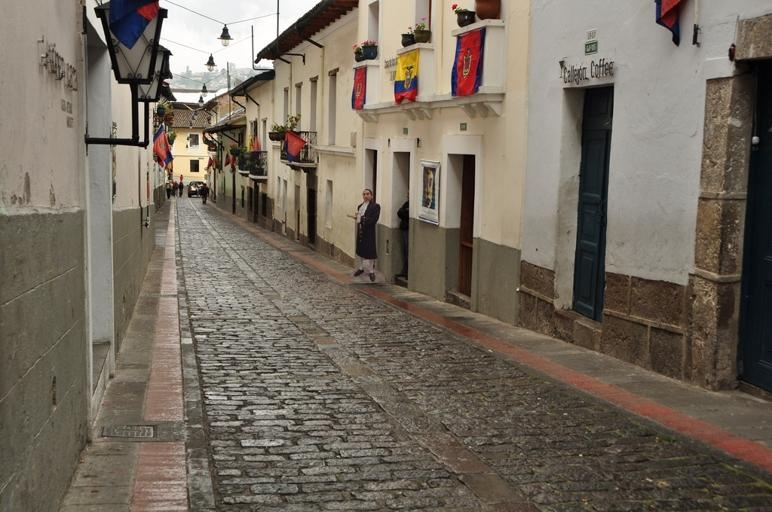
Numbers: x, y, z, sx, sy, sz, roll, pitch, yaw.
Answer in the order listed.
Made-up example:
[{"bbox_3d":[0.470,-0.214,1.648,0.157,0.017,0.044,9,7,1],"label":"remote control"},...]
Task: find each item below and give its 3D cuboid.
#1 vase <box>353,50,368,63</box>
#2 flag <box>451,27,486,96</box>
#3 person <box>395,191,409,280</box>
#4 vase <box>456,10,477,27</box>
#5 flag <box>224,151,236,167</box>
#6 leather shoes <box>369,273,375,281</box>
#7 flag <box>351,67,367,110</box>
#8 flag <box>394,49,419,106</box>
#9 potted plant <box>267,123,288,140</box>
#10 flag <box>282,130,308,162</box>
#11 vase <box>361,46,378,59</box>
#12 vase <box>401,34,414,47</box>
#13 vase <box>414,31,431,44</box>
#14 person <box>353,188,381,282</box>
[{"bbox_3d":[-0.647,-4.964,20.117,0.280,0.245,0.301,1,4,-7],"label":"vase"},{"bbox_3d":[1.488,-3.466,14.413,0.092,1.168,1.258,2,8,-18],"label":"flag"},{"bbox_3d":[0.380,-0.411,18.772,0.243,1.821,0.448,0,7,-5],"label":"person"},{"bbox_3d":[1.466,-4.373,14.809,0.302,0.236,0.304,-5,7,-44],"label":"vase"},{"bbox_3d":[-9.617,-6.020,49.895,0.211,1.651,1.516,5,2,-23],"label":"flag"},{"bbox_3d":[-0.316,0.478,19.038,0.091,0.202,0.077,-10,0,-13],"label":"leather shoes"},{"bbox_3d":[-0.638,-4.167,19.997,0.178,1.032,1.207,-1,8,-11],"label":"flag"},{"bbox_3d":[0.447,-3.762,17.011,0.163,1.288,1.206,1,6,-21],"label":"flag"},{"bbox_3d":[-4.198,-4.772,31.179,0.792,0.516,0.947,-5,12,-33],"label":"potted plant"},{"bbox_3d":[-3.117,-3.835,27.904,0.114,0.904,1.150,2,21,-26],"label":"flag"},{"bbox_3d":[-0.406,-5.022,19.873,0.357,0.398,0.565,-3,9,-26],"label":"vase"},{"bbox_3d":[0.489,-4.646,17.356,0.285,0.245,0.301,1,1,36],"label":"vase"},{"bbox_3d":[0.760,-4.537,16.694,0.254,0.198,0.273,2,4,7],"label":"vase"},{"bbox_3d":[-0.455,-0.560,19.458,0.654,2.106,1.318,0,7,-1],"label":"person"}]
